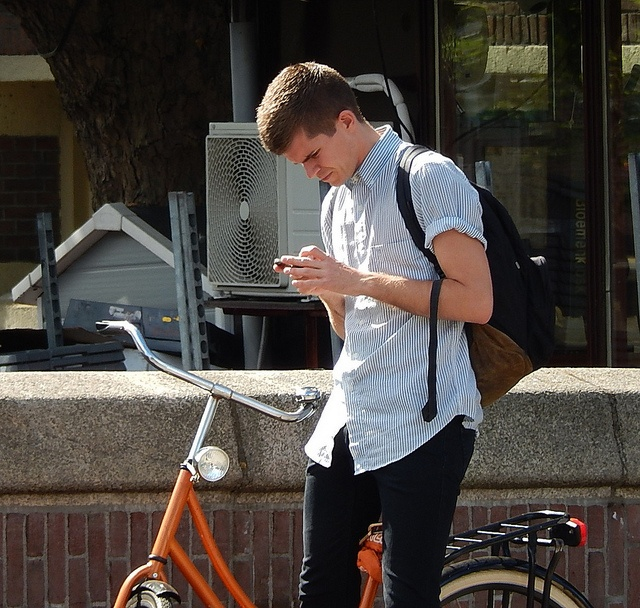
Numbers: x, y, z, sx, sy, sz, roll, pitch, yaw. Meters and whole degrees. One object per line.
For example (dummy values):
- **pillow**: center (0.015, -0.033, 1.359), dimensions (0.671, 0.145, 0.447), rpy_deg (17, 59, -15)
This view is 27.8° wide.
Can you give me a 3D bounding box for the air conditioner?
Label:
- **air conditioner**: center (-0.281, -0.615, 8.372), dimensions (0.844, 1.013, 0.850), rpy_deg (-3, 4, -22)
